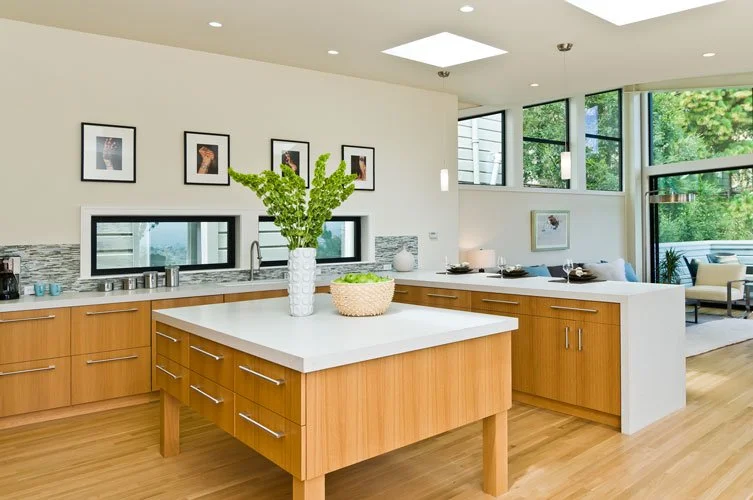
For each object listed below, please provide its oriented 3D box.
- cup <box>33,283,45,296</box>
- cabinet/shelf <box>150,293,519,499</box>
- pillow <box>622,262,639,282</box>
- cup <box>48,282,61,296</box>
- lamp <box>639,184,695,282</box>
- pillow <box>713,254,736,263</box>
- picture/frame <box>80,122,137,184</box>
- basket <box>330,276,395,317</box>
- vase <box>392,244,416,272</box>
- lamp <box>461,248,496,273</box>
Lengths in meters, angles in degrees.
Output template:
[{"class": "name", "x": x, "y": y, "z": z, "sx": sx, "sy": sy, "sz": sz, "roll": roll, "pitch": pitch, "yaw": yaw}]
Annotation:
[{"class": "cup", "x": -3.269, "y": 0.395, "z": 4.882, "sx": 0.130, "sy": 0.118, "sz": 0.121, "roll": 0, "pitch": -2, "yaw": 0}, {"class": "cabinet/shelf", "x": -0.200, "y": 0.830, "z": 3.365, "sx": 1.549, "sy": 0.968, "sz": 1.985, "roll": 3, "pitch": -4, "yaw": -40}, {"class": "pillow", "x": 4.109, "y": 0.364, "z": 8.120, "sx": 0.139, "sy": 0.278, "sz": 0.360, "roll": -30, "pitch": -27, "yaw": 19}, {"class": "cup", "x": -3.133, "y": 0.377, "z": 4.855, "sx": 0.105, "sy": 0.119, "sz": 0.137, "roll": -8, "pitch": -11, "yaw": 41}, {"class": "lamp", "x": 5.698, "y": -0.383, "z": 10.013, "sx": 0.814, "sy": 2.088, "sz": 0.814, "roll": -1, "pitch": 9, "yaw": 0}, {"class": "pillow", "x": 6.566, "y": 0.168, "z": 9.417, "sx": 0.072, "sy": 0.173, "sz": 0.182, "roll": -32, "pitch": 7, "yaw": -27}, {"class": "picture/frame", "x": -2.825, "y": -1.006, "z": 5.188, "sx": 0.716, "sy": 0.777, "sz": 0.031, "roll": 4, "pitch": -5, "yaw": -31}, {"class": "basket", "x": -0.107, "y": 0.321, "z": 3.541, "sx": 0.331, "sy": 0.163, "sz": 0.357, "roll": 3, "pitch": -5, "yaw": -29}, {"class": "vase", "x": 0.352, "y": 0.142, "z": 6.737, "sx": 0.349, "sy": 0.332, "sz": 0.327, "roll": 0, "pitch": 1, "yaw": 1}, {"class": "lamp", "x": 1.508, "y": 0.130, "z": 7.368, "sx": 0.444, "sy": 0.636, "sz": 0.420, "roll": -1, "pitch": 1, "yaw": 0}]
